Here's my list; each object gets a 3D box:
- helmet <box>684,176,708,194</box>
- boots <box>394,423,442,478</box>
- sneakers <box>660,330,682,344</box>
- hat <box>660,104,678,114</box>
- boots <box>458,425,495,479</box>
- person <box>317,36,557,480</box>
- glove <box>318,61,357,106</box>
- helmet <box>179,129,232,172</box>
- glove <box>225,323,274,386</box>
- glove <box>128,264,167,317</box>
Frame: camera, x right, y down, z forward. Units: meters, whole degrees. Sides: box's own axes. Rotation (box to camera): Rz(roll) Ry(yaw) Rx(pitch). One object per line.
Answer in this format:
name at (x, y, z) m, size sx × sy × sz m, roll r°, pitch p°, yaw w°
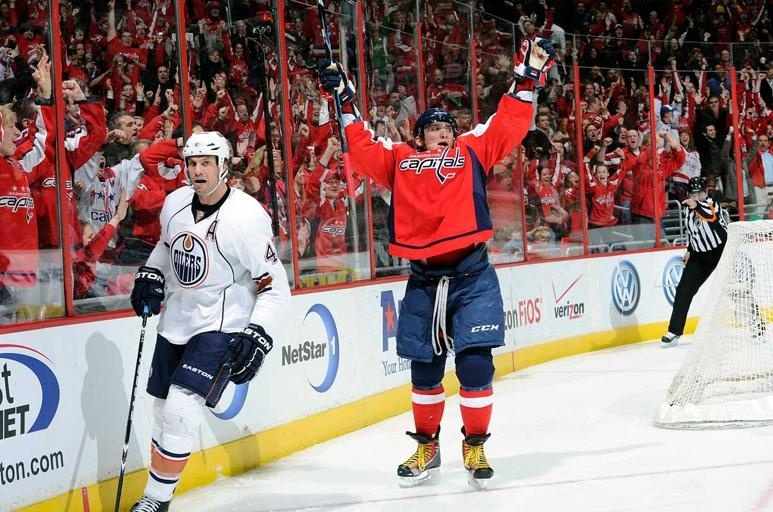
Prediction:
helmet at (3.840, -0.850, 10.190) m, size 0.179 × 0.224 × 0.255 m, roll -6°, pitch -6°, yaw 16°
boots at (0.237, 1.385, 5.915) m, size 0.150 × 0.319 × 0.417 m, roll 0°, pitch 5°, yaw 43°
sneakers at (3.487, 0.986, 10.158) m, size 0.117 × 0.130 × 0.280 m, roll 4°, pitch -1°, yaw 42°
hat at (4.000, -2.072, 11.738) m, size 0.183 × 0.103 × 0.119 m, roll -10°, pitch 20°, yaw -5°
boots at (0.627, 1.359, 5.784) m, size 0.156 × 0.314 × 0.413 m, roll 1°, pitch 4°, yaw -10°
person at (0.422, 0.013, 5.900) m, size 1.471 × 3.041 × 0.580 m, roll -2°, pitch 3°, yaw 15°
glove at (-0.365, -1.208, 5.966) m, size 0.239 × 0.303 × 0.136 m, roll -40°, pitch 15°, yaw -11°
helmet at (-1.163, -0.694, 5.387) m, size 0.207 × 0.288 × 0.279 m, roll -1°, pitch 7°, yaw 20°
glove at (-0.876, 0.606, 5.199) m, size 0.347 × 0.247 × 0.159 m, roll -43°, pitch 3°, yaw -5°
glove at (-1.564, 0.220, 5.403) m, size 0.208 × 0.319 × 0.120 m, roll 3°, pitch -11°, yaw 14°
